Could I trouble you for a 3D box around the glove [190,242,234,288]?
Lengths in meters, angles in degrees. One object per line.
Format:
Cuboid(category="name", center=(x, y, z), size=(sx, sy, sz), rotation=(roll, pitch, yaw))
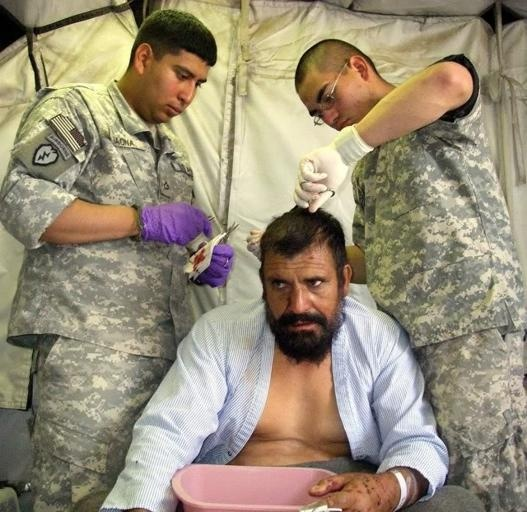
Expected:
Cuboid(category="glove", center=(-0.250, 0.040, 2.734), size=(0.142, 0.180, 0.177), rotation=(38, 3, -24))
